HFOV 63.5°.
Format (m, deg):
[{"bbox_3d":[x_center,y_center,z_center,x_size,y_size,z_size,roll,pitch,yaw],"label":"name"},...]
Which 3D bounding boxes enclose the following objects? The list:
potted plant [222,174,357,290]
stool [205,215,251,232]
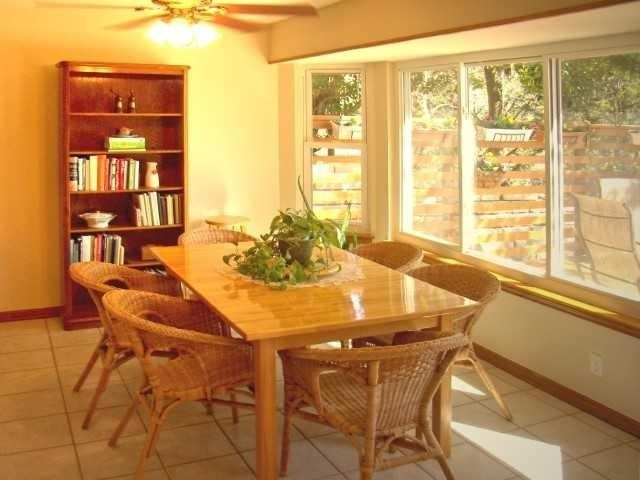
[{"bbox_3d":[-0.176,0.006,3.233,1.178,0.540,0.718,0,2,-3],"label":"potted plant"},{"bbox_3d":[-0.942,-0.187,5.305,0.318,0.231,0.260,-2,10,-18],"label":"stool"}]
